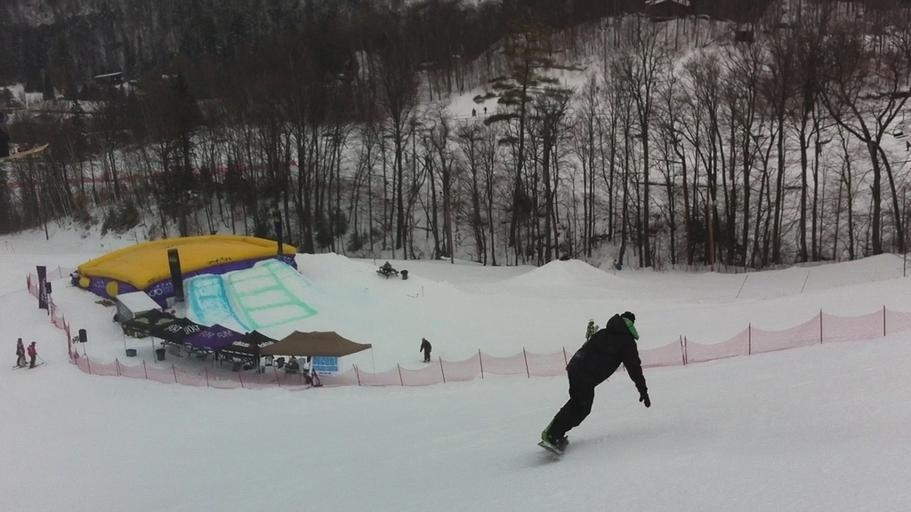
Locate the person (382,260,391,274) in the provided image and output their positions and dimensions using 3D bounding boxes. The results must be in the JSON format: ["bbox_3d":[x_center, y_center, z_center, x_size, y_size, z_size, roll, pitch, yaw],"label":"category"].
[{"bbox_3d":[-5.823,0.909,71.297,0.828,1.164,0.909,6,6,15],"label":"person"}]

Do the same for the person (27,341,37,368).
[{"bbox_3d":[-31.119,7.275,62.250,0.554,1.275,0.907,-9,7,-25],"label":"person"}]

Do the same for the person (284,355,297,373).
[{"bbox_3d":[-12.196,8.038,62.524,0.965,1.394,1.129,1,-2,-4],"label":"person"}]

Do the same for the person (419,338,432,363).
[{"bbox_3d":[-2.282,6.967,63.259,0.777,1.690,1.530,-7,6,-4],"label":"person"}]

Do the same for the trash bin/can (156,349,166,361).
[{"bbox_3d":[-22.070,7.355,63.374,0.669,0.877,0.708,-9,7,-23],"label":"trash bin/can"}]
